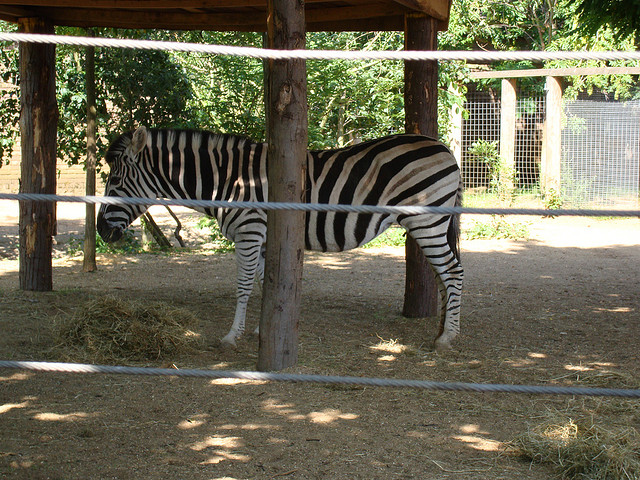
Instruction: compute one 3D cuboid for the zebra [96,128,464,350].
[{"bbox_3d":[-0.410,0.067,8.910,2.981,1.588,0.842,0,-2,5],"label":"zebra"}]
